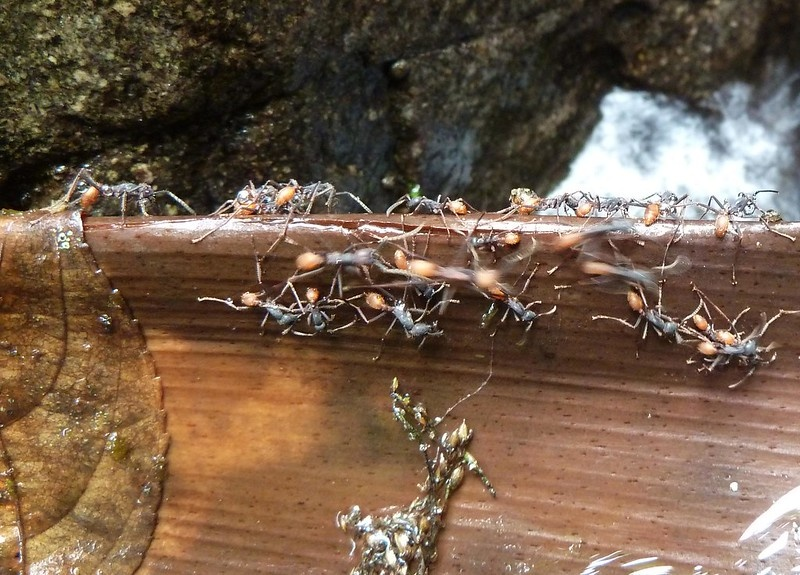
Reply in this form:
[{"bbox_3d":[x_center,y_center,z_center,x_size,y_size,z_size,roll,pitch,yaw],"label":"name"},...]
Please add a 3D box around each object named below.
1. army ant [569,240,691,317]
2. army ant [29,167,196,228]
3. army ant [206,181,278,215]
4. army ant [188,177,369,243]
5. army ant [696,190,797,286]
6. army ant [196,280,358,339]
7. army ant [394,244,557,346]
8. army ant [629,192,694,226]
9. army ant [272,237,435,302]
[{"bbox_3d":[0.811,-0.041,3.130,0.329,0.199,0.090,14,18,-2],"label":"army ant"},{"bbox_3d":[-1.073,-0.307,3.275,0.422,0.116,0.259,-1,12,-34],"label":"army ant"},{"bbox_3d":[-0.548,-0.326,3.307,0.181,0.133,0.320,9,7,3],"label":"army ant"},{"bbox_3d":[-0.466,-0.320,3.313,0.476,0.134,0.300,-3,14,-8],"label":"army ant"},{"bbox_3d":[1.166,-0.197,3.257,0.383,0.303,0.113,-15,-25,-11],"label":"army ant"},{"bbox_3d":[-0.356,0.085,3.190,0.383,0.097,0.238,2,-30,3],"label":"army ant"},{"bbox_3d":[0.247,0.007,3.071,0.455,0.285,0.115,24,18,1],"label":"army ant"},{"bbox_3d":[0.914,-0.288,3.196,0.141,0.055,0.179,13,37,34],"label":"army ant"},{"bbox_3d":[-0.170,-0.056,3.139,0.385,0.226,0.101,1,35,1],"label":"army ant"}]
